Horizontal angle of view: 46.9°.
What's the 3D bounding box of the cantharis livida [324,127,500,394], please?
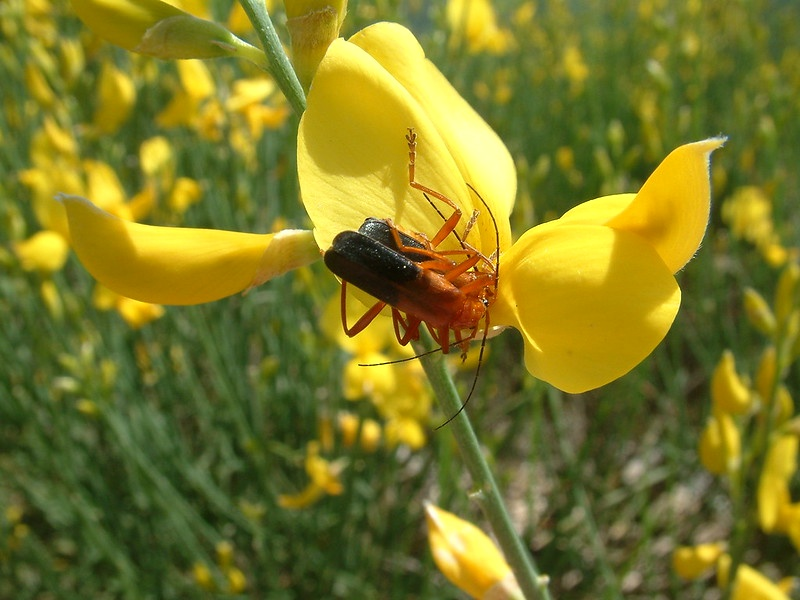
[{"bbox_3d":[0.029,-0.054,1.550,0.338,0.328,0.102,30,16,-14],"label":"cantharis livida"}]
